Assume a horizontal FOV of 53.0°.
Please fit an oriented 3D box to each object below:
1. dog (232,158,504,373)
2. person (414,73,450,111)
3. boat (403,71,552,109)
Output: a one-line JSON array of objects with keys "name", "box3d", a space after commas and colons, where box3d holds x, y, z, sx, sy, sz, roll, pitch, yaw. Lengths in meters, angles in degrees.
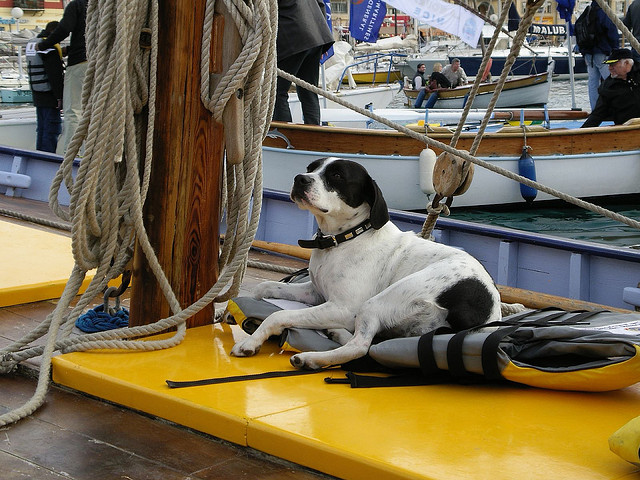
[{"name": "dog", "box3d": [0.191, 0.055, 2.722, 1.160, 0.740, 0.786, 4, 10, 10]}, {"name": "person", "box3d": [2.816, -3.740, 16.080, 0.856, 0.904, 1.599, 5, 12, 13]}, {"name": "boat", "box3d": [4.249, -3.937, 17.167, 3.849, 0.935, 1.214, -1, 15, 18]}]
